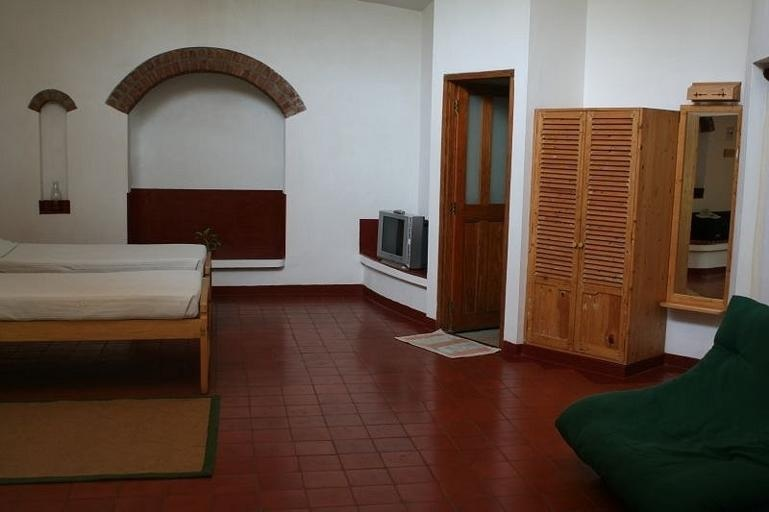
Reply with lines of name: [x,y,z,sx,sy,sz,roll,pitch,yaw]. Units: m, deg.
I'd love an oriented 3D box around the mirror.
mirror: [3.232,-0.479,5.331,0.679,2.038,0.211,11,15,38]

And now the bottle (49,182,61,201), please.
bottle: [-4.392,-0.872,7.052,0.135,0.250,0.148,-2,12,-20]

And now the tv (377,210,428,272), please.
tv: [0.260,-0.230,7.364,0.330,0.736,0.912,-8,16,-42]

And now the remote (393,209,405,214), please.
remote: [0.229,-0.654,7.854,0.155,0.063,0.110,1,9,-21]

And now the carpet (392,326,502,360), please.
carpet: [0.745,1.032,6.211,1.117,0.055,0.679,13,16,41]
